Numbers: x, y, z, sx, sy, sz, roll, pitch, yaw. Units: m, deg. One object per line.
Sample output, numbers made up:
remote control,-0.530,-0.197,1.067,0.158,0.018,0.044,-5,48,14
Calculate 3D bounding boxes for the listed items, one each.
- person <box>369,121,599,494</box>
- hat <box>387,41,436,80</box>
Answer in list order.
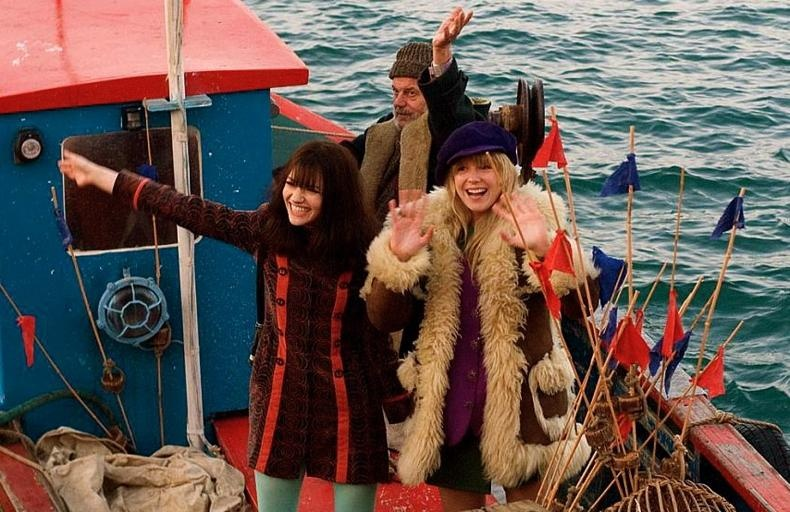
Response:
person,0.489,0.345,6.074,1.250,2.210,0.609,4,15,10
hat,0.143,-1.341,7.070,0.220,0.272,0.277,21,-7,-36
